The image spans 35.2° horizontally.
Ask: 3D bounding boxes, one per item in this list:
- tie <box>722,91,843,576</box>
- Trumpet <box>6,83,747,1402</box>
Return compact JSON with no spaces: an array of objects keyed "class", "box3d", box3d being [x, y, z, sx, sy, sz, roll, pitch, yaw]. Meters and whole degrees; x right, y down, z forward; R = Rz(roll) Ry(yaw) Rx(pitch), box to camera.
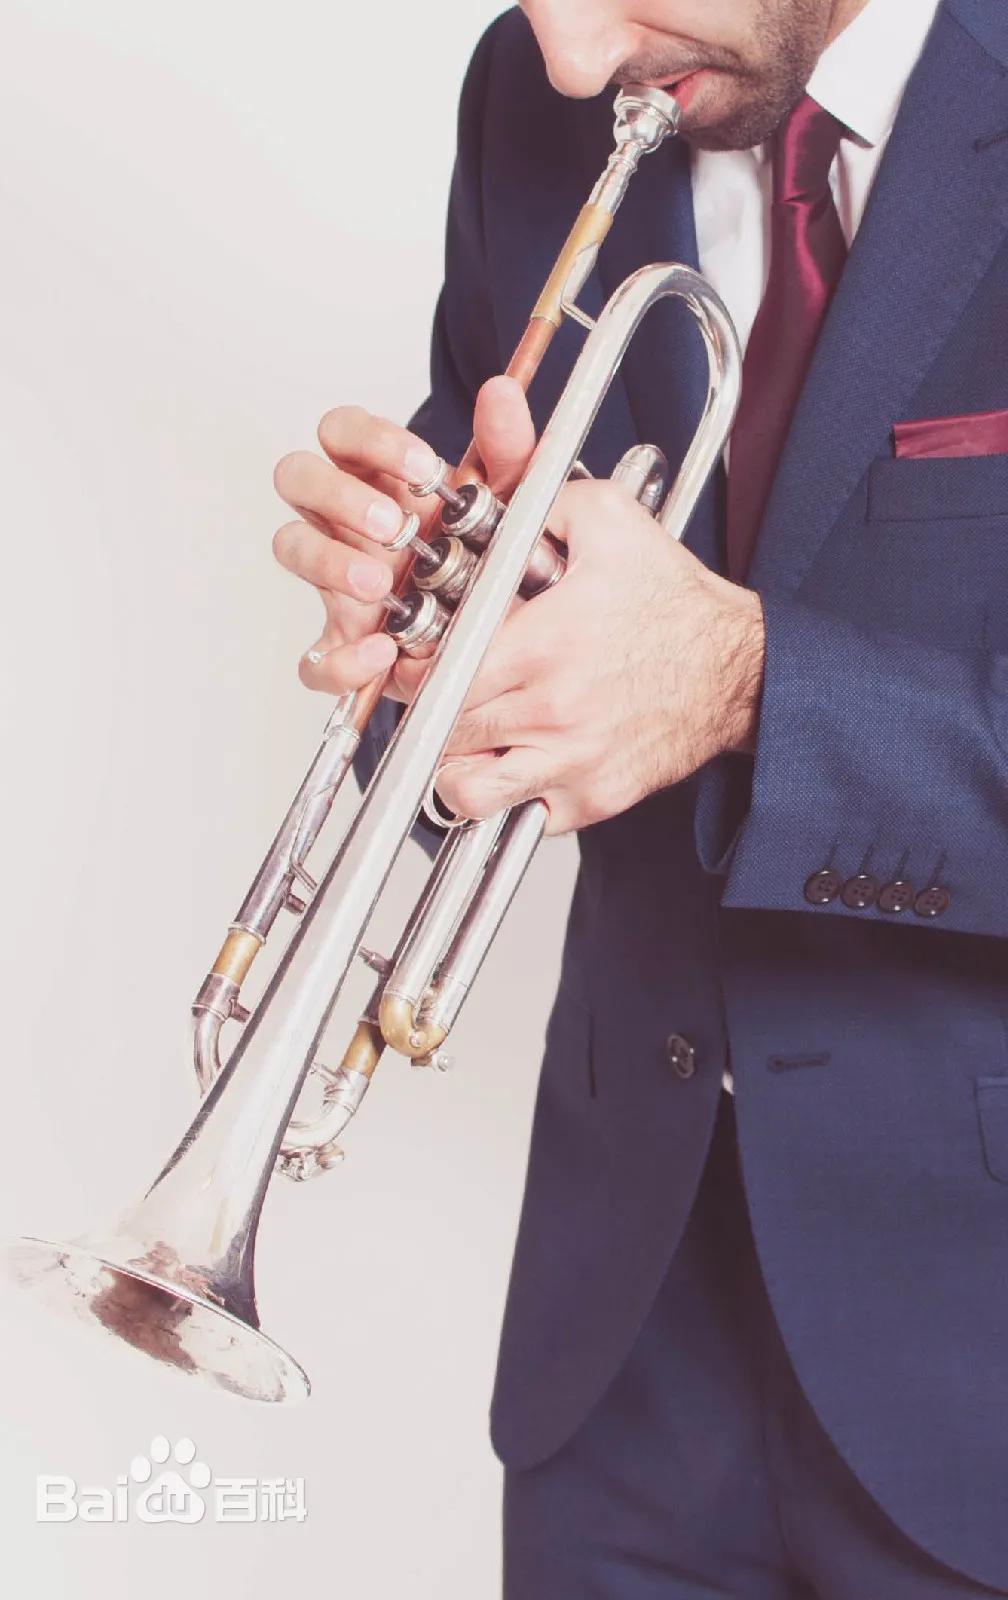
[{"class":"tie","box3d":[0.217,-0.369,1.262,0.090,0.383,0.094,20,-30,-15]},{"class":"Trumpet","box3d":[-0.034,-0.079,1.128,0.218,0.950,0.315,22,-3,3]}]
